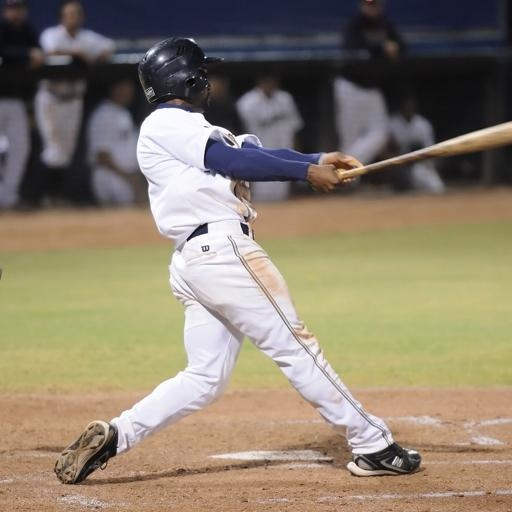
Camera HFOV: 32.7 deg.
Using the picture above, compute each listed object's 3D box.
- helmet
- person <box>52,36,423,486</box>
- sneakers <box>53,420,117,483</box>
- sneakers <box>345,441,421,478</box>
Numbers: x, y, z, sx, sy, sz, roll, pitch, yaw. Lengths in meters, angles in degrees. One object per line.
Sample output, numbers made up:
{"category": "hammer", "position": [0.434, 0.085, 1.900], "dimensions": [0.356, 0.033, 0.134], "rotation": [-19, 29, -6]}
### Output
{"category": "helmet", "position": [-0.334, -0.744, 3.508], "dimensions": [0.406, 0.188, 0.235], "rotation": [-3, 2, -15]}
{"category": "person", "position": [-0.129, 0.014, 3.518], "dimensions": [1.396, 1.793, 0.497], "rotation": [-1, 11, -1]}
{"category": "sneakers", "position": [-0.677, 0.787, 3.493], "dimensions": [0.181, 0.368, 0.133], "rotation": [29, 34, -50]}
{"category": "sneakers", "position": [0.517, 0.830, 3.553], "dimensions": [0.390, 0.111, 0.112], "rotation": [-2, 1, -4]}
